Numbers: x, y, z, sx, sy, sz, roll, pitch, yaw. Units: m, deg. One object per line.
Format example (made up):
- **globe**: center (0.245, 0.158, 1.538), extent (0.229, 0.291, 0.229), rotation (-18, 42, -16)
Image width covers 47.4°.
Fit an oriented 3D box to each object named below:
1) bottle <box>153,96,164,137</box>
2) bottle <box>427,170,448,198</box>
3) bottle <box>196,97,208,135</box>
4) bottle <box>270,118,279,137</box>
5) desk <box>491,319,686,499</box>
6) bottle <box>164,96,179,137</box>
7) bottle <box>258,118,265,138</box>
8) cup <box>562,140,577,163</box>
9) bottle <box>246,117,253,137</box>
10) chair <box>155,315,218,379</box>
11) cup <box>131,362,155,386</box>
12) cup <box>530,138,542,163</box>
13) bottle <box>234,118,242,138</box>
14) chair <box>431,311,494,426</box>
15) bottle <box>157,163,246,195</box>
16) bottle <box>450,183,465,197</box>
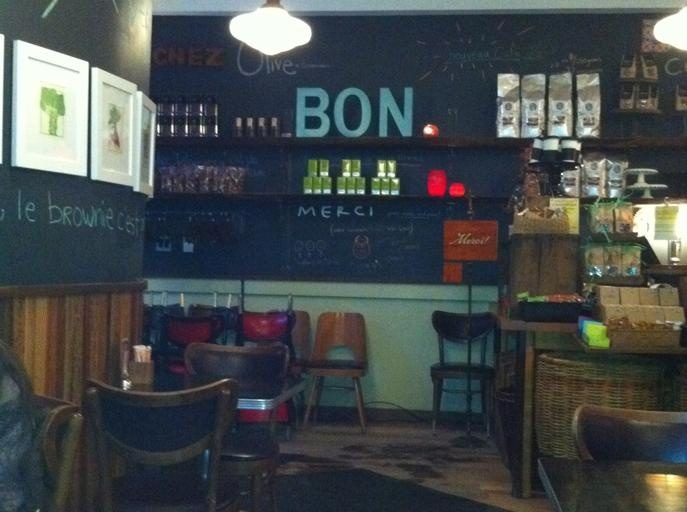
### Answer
- **bottle**: center (-1.670, -1.272, 7.127), extent (0.087, 0.371, 0.392), rotation (-1, 0, -5)
- **bottle**: center (0.826, -0.657, 7.074), extent (0.203, 0.290, 0.205), rotation (1, 2, 0)
- **bottle**: center (-1.287, -1.262, 7.147), extent (0.085, 0.311, 0.029), rotation (0, 5, -14)
- **bottle**: center (-0.615, -1.170, 7.099), extent (0.087, 0.166, 0.051), rotation (0, 5, -11)
- **desk**: center (1.664, 0.895, 5.568), extent (1.105, 1.173, 1.163), rotation (1, 5, 17)
- **bottle**: center (-1.548, -1.270, 7.153), extent (0.093, 0.322, 0.031), rotation (1, 5, -2)
- **bottle**: center (-0.734, -1.171, 7.103), extent (0.075, 0.165, 0.046), rotation (1, 5, -3)
- **cup**: center (1.609, -0.744, 5.541), extent (0.137, 0.160, 0.126), rotation (1, 5, 0)
- **bottle**: center (-0.849, -1.179, 7.132), extent (0.082, 0.159, 0.031), rotation (3, 5, 16)
- **chair**: center (-1.219, 0.703, 6.253), extent (0.458, 0.663, 0.483), rotation (1, -16, -3)
- **cup**: center (-1.126, 0.656, 4.418), extent (0.115, 0.128, 0.120), rotation (1, 2, 0)
- **cup**: center (1.379, -0.759, 5.594), extent (0.049, 0.168, 0.093), rotation (-2, 6, -32)
- **bottle**: center (-0.955, -1.178, 7.147), extent (0.082, 0.168, 0.065), rotation (1, 5, -4)
- **chair**: center (0.991, 0.970, 6.590), extent (0.543, 1.021, 0.909), rotation (2, 6, 10)
- **bottle**: center (-1.308, -0.695, 7.149), extent (0.801, 0.264, 0.394), rotation (0, 6, -11)
- **bottle**: center (1.017, -0.590, 6.982), extent (0.120, 0.127, 0.126), rotation (3, -3, 22)
